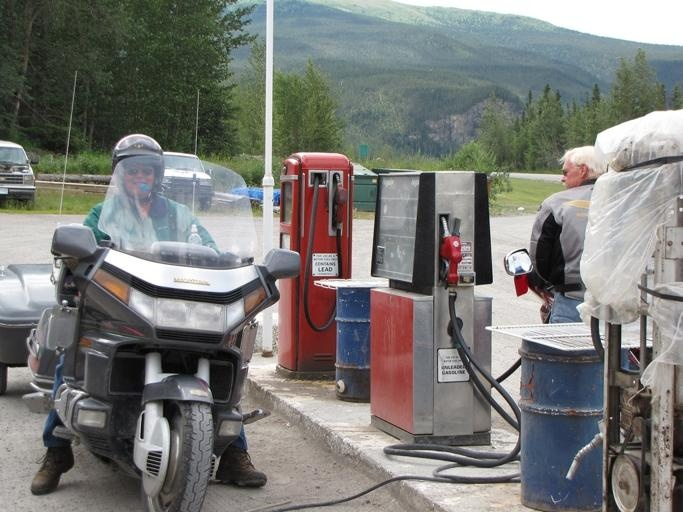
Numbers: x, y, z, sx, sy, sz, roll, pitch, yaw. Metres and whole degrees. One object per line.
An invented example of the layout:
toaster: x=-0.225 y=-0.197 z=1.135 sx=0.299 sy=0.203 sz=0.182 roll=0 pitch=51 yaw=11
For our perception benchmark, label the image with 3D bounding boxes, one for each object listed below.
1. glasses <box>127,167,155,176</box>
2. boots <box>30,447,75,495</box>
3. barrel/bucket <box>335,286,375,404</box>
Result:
glasses: x=-1.379 y=-0.577 z=6.050 sx=0.095 sy=0.038 sz=0.103 roll=-1 pitch=-11 yaw=-10
boots: x=-2.092 y=1.546 z=6.359 sx=0.148 sy=0.232 sz=0.458 roll=2 pitch=8 yaw=9
barrel/bucket: x=0.114 y=0.802 z=8.169 sx=0.399 sy=1.084 sz=0.280 roll=0 pitch=7 yaw=19
